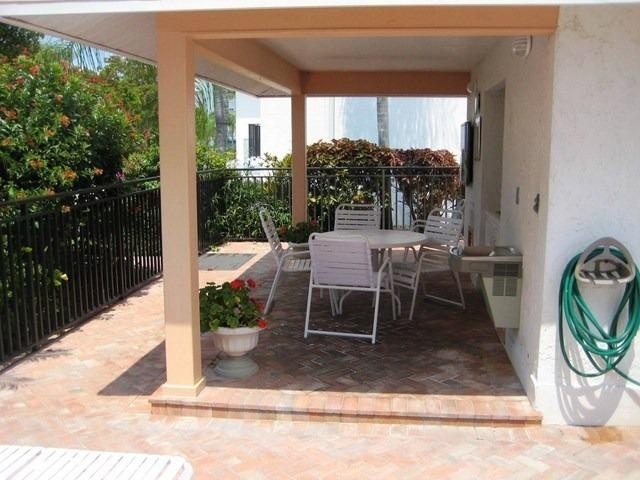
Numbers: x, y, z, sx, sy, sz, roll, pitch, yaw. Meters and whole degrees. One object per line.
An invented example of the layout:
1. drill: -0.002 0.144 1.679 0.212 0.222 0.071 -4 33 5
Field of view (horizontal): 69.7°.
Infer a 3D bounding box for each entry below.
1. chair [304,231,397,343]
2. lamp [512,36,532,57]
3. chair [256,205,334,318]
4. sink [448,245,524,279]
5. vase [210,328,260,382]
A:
1. chair: 0.398 0.393 5.280 0.897 1.309 0.972 3 7 21
2. lamp: 1.791 -1.696 4.028 0.153 0.146 0.205 5 14 23
3. chair: -0.312 0.244 6.264 0.925 1.277 0.848 -3 12 -11
4. sink: 1.547 0.198 4.329 0.578 0.248 0.611 0 13 1
5. vase: -0.765 0.987 4.185 0.449 0.426 0.459 0 -1 -9
